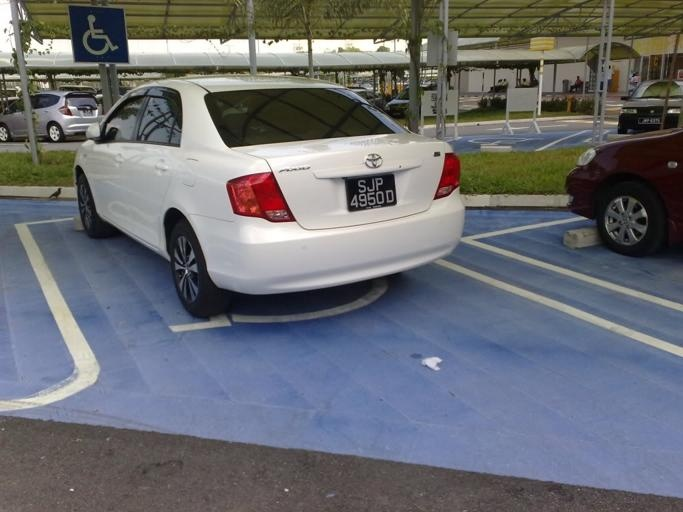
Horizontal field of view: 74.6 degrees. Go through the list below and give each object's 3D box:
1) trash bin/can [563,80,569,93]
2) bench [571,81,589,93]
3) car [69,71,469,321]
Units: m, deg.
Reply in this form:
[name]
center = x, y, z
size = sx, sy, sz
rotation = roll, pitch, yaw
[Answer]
[trash bin/can]
center = 31.103, -23.414, 62.045
size = 0.815, 1.647, 3.627
rotation = 7, 20, 19
[bench]
center = 30.705, -21.469, 57.498
size = 1.163, 1.381, 2.832
rotation = -5, 19, -13
[car]
center = -0.883, -0.649, 4.331
size = 3.508, 2.022, 1.802
rotation = 16, 25, 39
